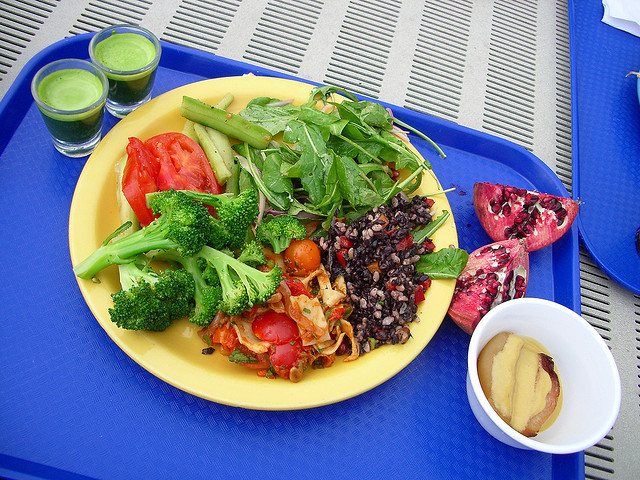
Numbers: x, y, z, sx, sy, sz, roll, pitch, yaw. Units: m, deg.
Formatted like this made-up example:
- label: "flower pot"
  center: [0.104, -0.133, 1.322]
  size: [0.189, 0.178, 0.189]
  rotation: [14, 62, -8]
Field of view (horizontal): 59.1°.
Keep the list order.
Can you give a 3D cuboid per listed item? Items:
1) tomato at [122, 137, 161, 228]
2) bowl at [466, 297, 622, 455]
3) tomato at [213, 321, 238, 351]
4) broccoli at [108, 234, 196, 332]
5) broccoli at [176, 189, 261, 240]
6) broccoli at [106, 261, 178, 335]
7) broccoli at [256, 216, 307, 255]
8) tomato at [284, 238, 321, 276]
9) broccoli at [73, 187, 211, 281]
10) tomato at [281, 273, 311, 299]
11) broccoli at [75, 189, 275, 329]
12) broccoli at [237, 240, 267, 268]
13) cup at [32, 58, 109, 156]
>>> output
- label: "tomato"
  center: [-0.605, -0.194, 1.923]
  size: [0.163, 0.077, 0.291]
  rotation: [21, 70, -50]
- label: "bowl"
  center: [0.694, 0.427, 1.798]
  size: [0.443, 0.158, 0.485]
  rotation: [3, 74, -11]
- label: "tomato"
  center: [-0.307, 0.317, 1.851]
  size: [0.088, 0.054, 0.074]
  rotation: [35, 70, -1]
- label: "broccoli"
  center: [-0.541, 0.151, 1.782]
  size: [0.224, 0.135, 0.202]
  rotation: [30, 42, 33]
- label: "broccoli"
  center: [-0.304, -0.073, 1.969]
  size: [0.130, 0.196, 0.117]
  rotation: [-16, 85, -26]
- label: "broccoli"
  center: [-0.583, 0.177, 1.821]
  size: [0.184, 0.156, 0.231]
  rotation: [-22, 44, -38]
- label: "broccoli"
  center: [-0.136, -0.023, 1.952]
  size: [0.130, 0.139, 0.108]
  rotation: [-4, 97, 12]
- label: "tomato"
  center: [-0.062, 0.062, 1.951]
  size: [0.111, 0.065, 0.128]
  rotation: [-2, 88, 5]
- label: "broccoli"
  center: [-0.592, 0.021, 1.865]
  size: [0.455, 0.282, 0.203]
  rotation: [-27, 119, -23]
- label: "tomato"
  center: [-0.078, 0.161, 1.918]
  size: [0.102, 0.021, 0.056]
  rotation: [42, 59, 17]
- label: "broccoli"
  center: [-0.439, 0.005, 1.933]
  size: [0.638, 0.307, 0.553]
  rotation: [12, 62, 0]
- label: "broccoli"
  center: [-0.228, 0.051, 1.919]
  size: [0.081, 0.076, 0.064]
  rotation: [-26, 106, 9]
- label: "cup"
  center: [-0.882, -0.471, 2.093]
  size: [0.267, 0.269, 0.324]
  rotation: [-1, 65, -15]
